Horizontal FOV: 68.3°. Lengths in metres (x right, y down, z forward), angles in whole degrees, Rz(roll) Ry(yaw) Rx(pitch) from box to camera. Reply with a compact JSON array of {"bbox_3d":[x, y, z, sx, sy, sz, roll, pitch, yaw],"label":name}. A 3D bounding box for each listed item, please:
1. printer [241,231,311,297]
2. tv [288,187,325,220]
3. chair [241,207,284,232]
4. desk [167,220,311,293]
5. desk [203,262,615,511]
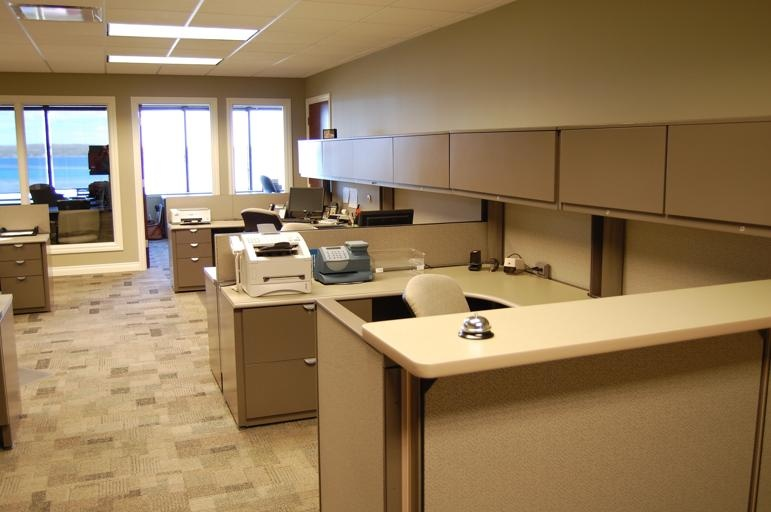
[{"bbox_3d":[-0.872,0.053,4.375,0.482,0.456,0.491,-1,2,-22],"label":"printer"},{"bbox_3d":[-1.226,-0.767,8.247,0.604,0.430,0.353,5,12,28],"label":"tv"},{"bbox_3d":[-1.594,-0.441,7.144,0.331,0.302,0.775,-7,16,-30],"label":"chair"},{"bbox_3d":[-2.460,0.007,7.942,1.018,0.877,0.605,-4,11,-24],"label":"desk"},{"bbox_3d":[-0.584,0.632,4.177,2.075,0.841,1.440,-5,8,-29],"label":"desk"}]
